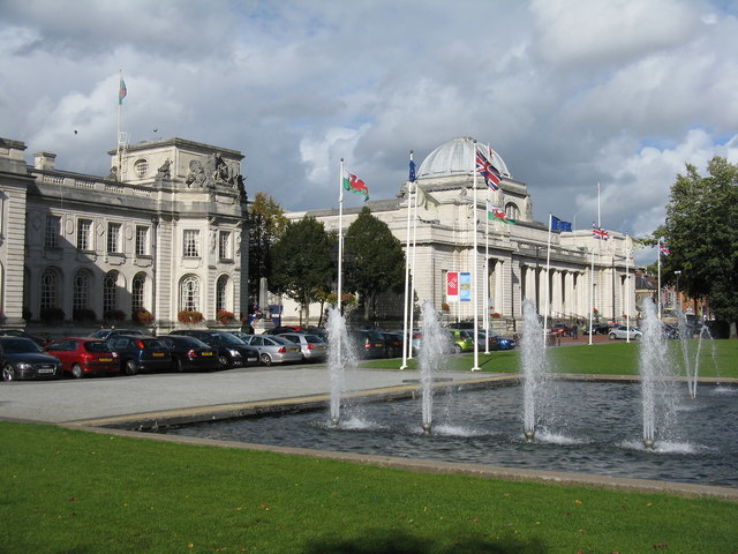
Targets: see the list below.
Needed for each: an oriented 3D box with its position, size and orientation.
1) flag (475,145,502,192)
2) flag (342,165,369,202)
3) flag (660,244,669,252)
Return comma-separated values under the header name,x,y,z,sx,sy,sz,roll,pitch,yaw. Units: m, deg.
name,x,y,z,sx,sy,sz,roll,pitch,yaw
flag,5.695,-5.324,42.122,1.099,0.336,3.004,7,-28,32
flag,-0.555,-4.390,41.209,1.360,1.331,1.037,2,-8,-23
flag,24.257,-2.363,71.405,0.870,0.792,0.906,-3,-3,28
